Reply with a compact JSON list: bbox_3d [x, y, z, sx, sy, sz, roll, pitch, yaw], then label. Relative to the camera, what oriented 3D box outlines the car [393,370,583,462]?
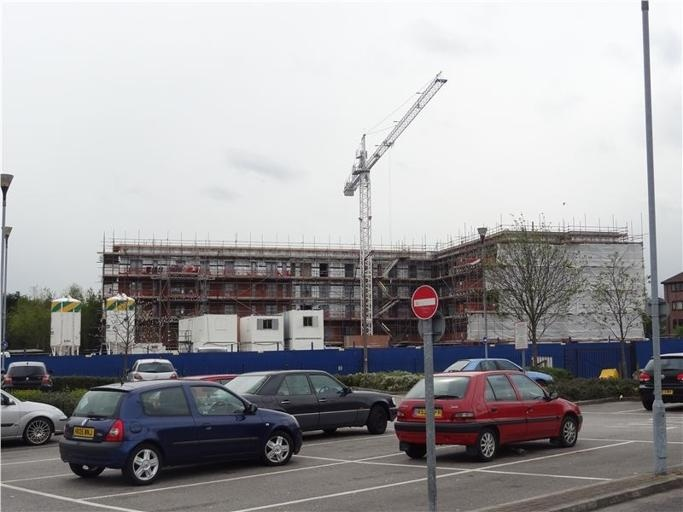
[{"bbox_3d":[4.042,4.131,28.537,2.779,2.146,5.513,-7,-7,43],"label":"car"}]

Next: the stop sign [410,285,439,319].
[{"bbox_3d":[1.738,0.937,22.355,0.495,0.768,0.777,-2,-7,2],"label":"stop sign"}]

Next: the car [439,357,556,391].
[{"bbox_3d":[6.173,4.774,39.525,4.647,1.642,2.137,-2,0,-24],"label":"car"}]
